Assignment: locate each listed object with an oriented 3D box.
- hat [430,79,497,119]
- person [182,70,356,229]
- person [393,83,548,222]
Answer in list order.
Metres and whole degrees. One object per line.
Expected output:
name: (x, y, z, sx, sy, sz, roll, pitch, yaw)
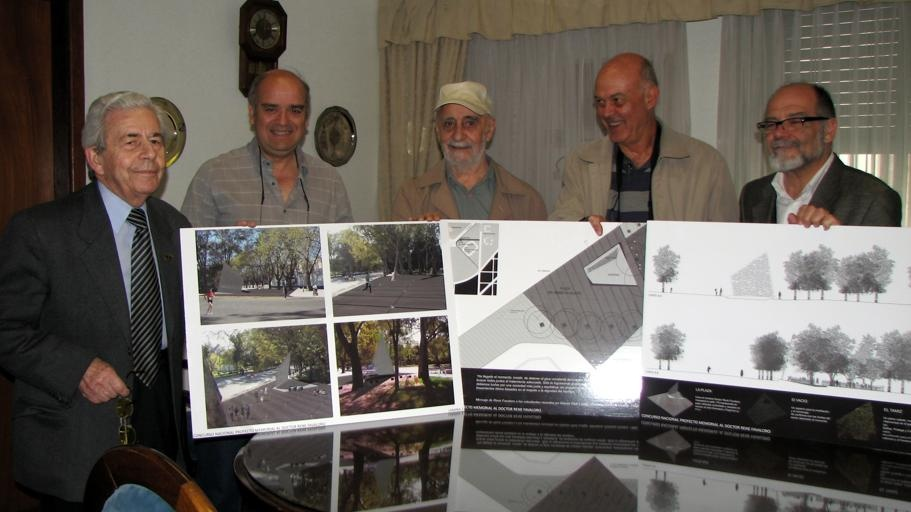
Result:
hat: (0.027, -0.900, 3.986, 0.317, 0.162, 0.447, 2, -10, 0)
person: (-1.052, -0.525, 4.046, 1.092, 1.124, 0.409, -4, 12, -29)
person: (0.084, -0.551, 4.103, 0.949, 0.912, 0.546, -1, -3, 4)
